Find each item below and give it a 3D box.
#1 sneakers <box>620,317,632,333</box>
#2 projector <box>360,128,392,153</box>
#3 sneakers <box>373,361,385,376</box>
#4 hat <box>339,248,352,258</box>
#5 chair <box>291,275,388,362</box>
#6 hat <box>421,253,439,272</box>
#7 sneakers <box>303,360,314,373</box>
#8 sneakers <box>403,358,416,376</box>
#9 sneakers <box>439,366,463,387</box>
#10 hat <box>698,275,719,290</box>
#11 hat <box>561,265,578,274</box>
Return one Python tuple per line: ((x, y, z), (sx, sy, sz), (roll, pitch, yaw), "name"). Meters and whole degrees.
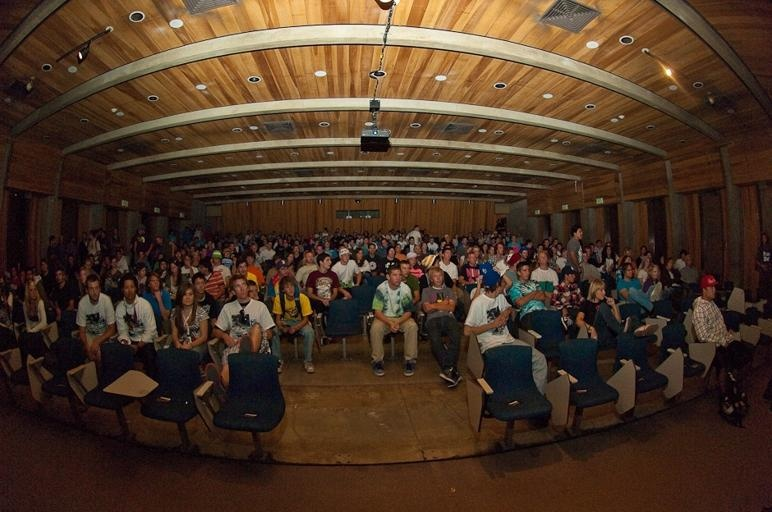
((3.965, 1.147, 7.303), (0.084, 0.207, 0.160), (8, -31, 39), "sneakers")
((-0.241, -2.508, 9.795), (0.639, 0.350, 0.601), (1, 3, 0), "projector")
((-0.114, 1.760, 6.930), (0.196, 0.211, 0.194), (1, -1, -7), "sneakers")
((-0.862, -0.057, 9.200), (0.245, 0.129, 0.316), (1, -3, -22), "hat")
((-0.861, 1.057, 8.087), (1.118, 1.265, 1.134), (-1, -14, 2), "chair")
((0.958, 0.128, 9.315), (0.387, 0.120, 0.372), (-29, 13, -24), "hat")
((-1.222, 1.769, 7.045), (0.156, 0.160, 0.213), (1, -1, -12), "sneakers")
((0.369, 1.754, 6.987), (0.194, 0.223, 0.308), (0, -1, 2), "sneakers")
((0.905, 1.787, 6.633), (0.442, 0.151, 0.187), (21, 46, 32), "sneakers")
((4.793, 0.393, 6.560), (0.168, 0.208, 0.202), (0, -2, 30), "hat")
((3.669, 0.278, 8.808), (0.140, 0.132, 0.177), (14, 37, 24), "hat")
